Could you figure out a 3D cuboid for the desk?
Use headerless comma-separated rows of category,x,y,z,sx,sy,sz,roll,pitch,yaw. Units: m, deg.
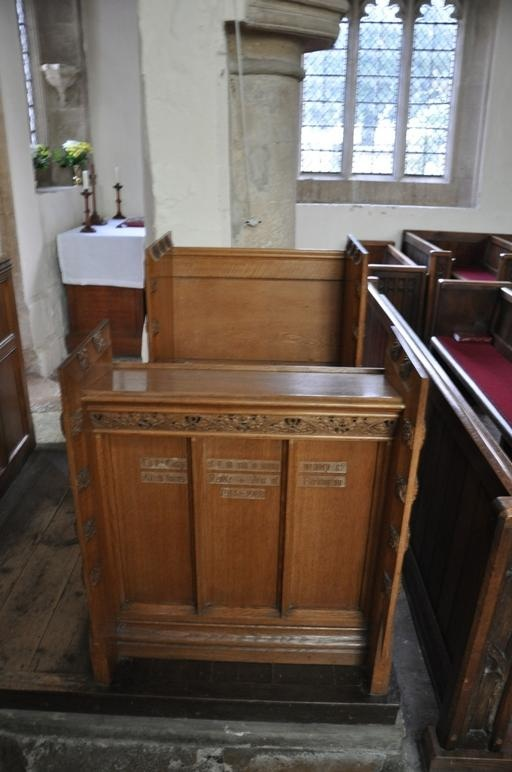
desk,-1.442,-0.895,5.172,0.732,1.220,1.259,-1,25,-4

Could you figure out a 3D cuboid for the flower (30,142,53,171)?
flower,-2.213,-2.351,5.816,0.180,0.247,0.947,-8,23,-17
